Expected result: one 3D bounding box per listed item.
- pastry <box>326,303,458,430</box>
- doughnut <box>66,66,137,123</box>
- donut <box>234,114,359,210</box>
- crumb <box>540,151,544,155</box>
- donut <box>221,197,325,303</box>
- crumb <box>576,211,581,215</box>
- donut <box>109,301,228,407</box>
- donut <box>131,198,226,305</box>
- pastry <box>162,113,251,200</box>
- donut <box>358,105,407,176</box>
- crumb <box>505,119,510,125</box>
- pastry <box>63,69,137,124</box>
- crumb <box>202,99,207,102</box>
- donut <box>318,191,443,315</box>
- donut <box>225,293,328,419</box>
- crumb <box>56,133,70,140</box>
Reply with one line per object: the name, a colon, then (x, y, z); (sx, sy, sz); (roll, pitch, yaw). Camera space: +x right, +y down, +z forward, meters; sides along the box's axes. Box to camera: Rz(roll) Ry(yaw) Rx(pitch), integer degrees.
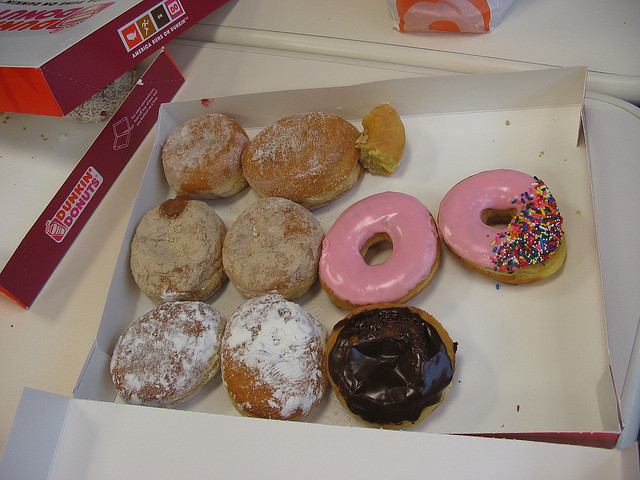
pastry: (0.204, 0.374, 1.567); (0.371, 0.139, 0.437); (-2, 34, 7)
doughnut: (-0.812, -0.583, 1.957); (0.254, 0.255, 0.095); (-28, 98, -38)
donut: (-0.095, -0.312, 1.783); (0.338, 0.144, 0.328); (-43, 59, -16)
crumb: (0.752, -0.294, 1.798); (0.010, 0.002, 0.011); (-1, 72, 25)
donut: (-0.173, 0.041, 1.760); (0.334, 0.138, 0.391); (9, 51, 9)
crumb: (0.821, -0.087, 1.685); (0.008, 0.002, 0.010); (-6, 71, 14)
donut: (-0.450, 0.398, 1.702); (0.331, 0.161, 0.269); (-40, 66, -13)
donut: (-0.477, 0.041, 1.798); (0.306, 0.177, 0.329); (-2, 61, -5)
pastry: (-0.420, -0.305, 1.961); (0.333, 0.185, 0.352); (-12, 58, -10)
donut: (0.218, -0.342, 1.861); (0.152, 0.181, 0.182); (13, 60, 5)
crumb: (0.659, -0.412, 1.862); (0.015, 0.005, 0.018); (2, 80, 15)
pastry: (-0.817, -0.523, 2.011); (0.213, 0.253, 0.088); (-28, 76, -5)
crumb: (-0.432, -0.520, 1.980); (0.008, 0.003, 0.008); (-26, 60, -23)
donut: (0.204, 0.041, 1.768); (0.432, 0.167, 0.467); (-4, 45, 27)
donut: (-0.143, 0.373, 1.628); (0.305, 0.216, 0.435); (3, 45, -6)
crumb: (-1.006, -0.406, 2.074); (0.038, 0.010, 0.024); (-4, 74, 3)
